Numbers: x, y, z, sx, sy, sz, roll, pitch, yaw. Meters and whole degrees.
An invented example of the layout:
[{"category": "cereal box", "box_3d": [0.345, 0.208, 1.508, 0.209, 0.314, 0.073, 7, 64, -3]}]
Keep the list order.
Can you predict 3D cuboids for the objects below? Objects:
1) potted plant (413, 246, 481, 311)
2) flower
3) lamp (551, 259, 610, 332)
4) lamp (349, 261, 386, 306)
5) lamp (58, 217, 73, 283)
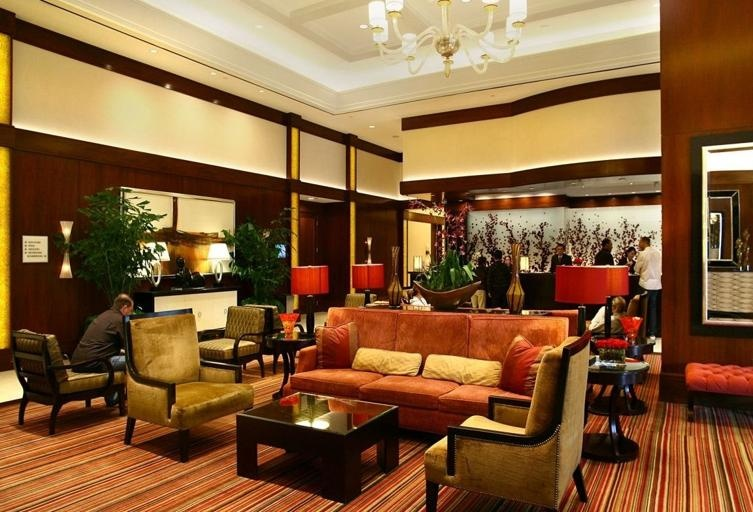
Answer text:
[{"category": "potted plant", "box_3d": [0.934, 0.301, 6.737, 0.744, 0.611, 0.820, 0, -1, -25]}, {"category": "flower", "box_3d": [1.782, -0.849, 14.084, 1.901, 1.897, 0.703, 0, -7, -16]}, {"category": "lamp", "box_3d": [2.318, 0.412, 5.876, 0.710, 1.094, 0.686, 0, 2, 23]}, {"category": "lamp", "box_3d": [-0.104, 0.401, 7.984, 0.610, 0.971, 0.614, 2, 2, 9]}, {"category": "lamp", "box_3d": [-4.934, -0.085, 8.302, 0.272, 0.949, 0.443, -7, 13, -30]}]
